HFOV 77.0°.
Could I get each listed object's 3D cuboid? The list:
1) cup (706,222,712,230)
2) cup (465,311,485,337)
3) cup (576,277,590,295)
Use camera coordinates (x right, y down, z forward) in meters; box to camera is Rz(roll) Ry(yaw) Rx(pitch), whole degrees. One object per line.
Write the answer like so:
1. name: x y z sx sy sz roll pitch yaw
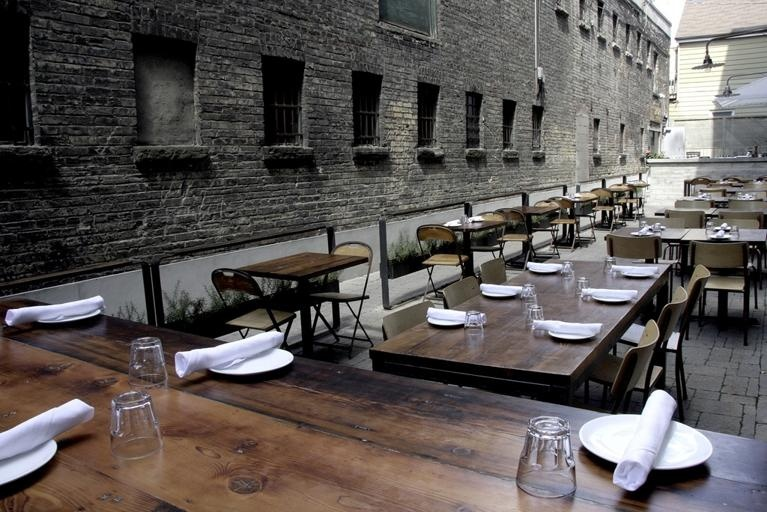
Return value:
1. cup: 4.404 -0.409 6.540 0.098 0.110 0.125 4 8 26
2. cup: 0.576 0.433 3.086 0.145 0.125 0.143 0 -1 0
3. cup: 1.545 0.240 3.815 0.142 0.148 0.127 1 4 17
